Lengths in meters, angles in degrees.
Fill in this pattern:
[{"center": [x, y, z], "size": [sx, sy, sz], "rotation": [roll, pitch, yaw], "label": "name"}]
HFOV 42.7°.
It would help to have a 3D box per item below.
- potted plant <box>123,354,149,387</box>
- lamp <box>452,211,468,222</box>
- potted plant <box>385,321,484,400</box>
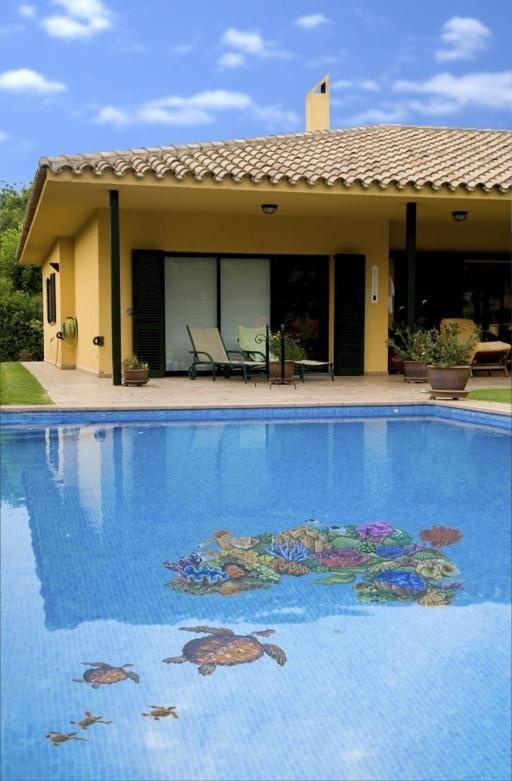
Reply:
[{"center": [-2.039, -0.308, 11.029], "size": [0.423, 0.456, 0.484], "rotation": [0, 5, -13], "label": "potted plant"}, {"center": [4.133, -3.557, 13.314], "size": [0.264, 0.192, 0.282], "rotation": [-1, 4, -9], "label": "lamp"}, {"center": [2.938, -0.473, 10.770], "size": [1.365, 1.366, 1.181], "rotation": [1, -4, -5], "label": "potted plant"}]
